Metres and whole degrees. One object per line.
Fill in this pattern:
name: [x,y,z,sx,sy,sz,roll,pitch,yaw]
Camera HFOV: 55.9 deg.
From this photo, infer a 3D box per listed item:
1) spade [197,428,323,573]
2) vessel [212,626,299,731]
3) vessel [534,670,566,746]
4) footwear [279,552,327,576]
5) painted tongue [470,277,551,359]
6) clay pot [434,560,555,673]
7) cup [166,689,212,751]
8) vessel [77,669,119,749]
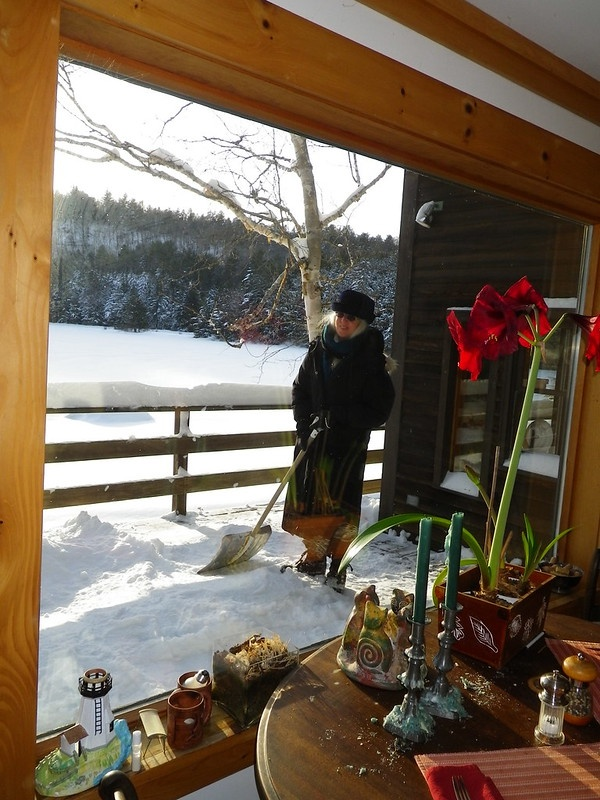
spade: [-0.096,0.258,1.514,0.059,0.355,0.391,-2,-2,43]
vessel: [-0.099,0.628,1.309,0.179,0.149,0.135,0,-9,-20]
vessel: [0.365,0.453,0.833,0.042,0.083,0.041,10,-3,43]
footwear: [0.022,0.492,1.671,0.196,0.050,0.074,11,-39,-18]
painted tongue: [0.349,-0.141,0.961,0.079,0.157,0.170,21,12,10]
clay pot: [0.383,0.406,1.089,0.191,0.105,0.137,-6,5,-43]
cup: [-0.227,0.661,1.160,0.062,0.081,0.096,2,3,-43]
vessel: [-0.368,0.561,1.025,0.060,0.140,0.082,0,-2,-19]
